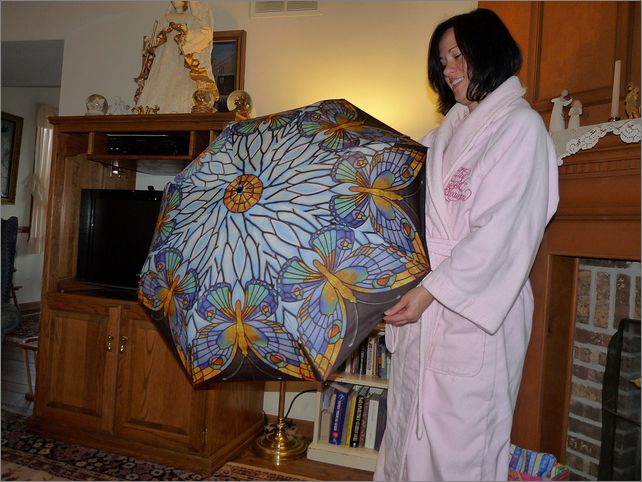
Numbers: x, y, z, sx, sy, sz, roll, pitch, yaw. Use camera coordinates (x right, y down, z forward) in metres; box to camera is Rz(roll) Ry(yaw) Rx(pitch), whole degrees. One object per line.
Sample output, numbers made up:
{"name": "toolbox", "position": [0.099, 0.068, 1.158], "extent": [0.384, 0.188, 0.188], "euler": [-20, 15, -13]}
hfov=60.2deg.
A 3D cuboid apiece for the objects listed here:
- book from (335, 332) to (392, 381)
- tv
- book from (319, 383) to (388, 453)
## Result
{"name": "book", "position": [0.283, 0.689, 3.198], "extent": [0.269, 0.105, 0.283], "euler": [-2, 1, -39]}
{"name": "tv", "position": [-1.145, 0.017, 3.145], "extent": [0.521, 0.715, 0.155], "euler": [-4, -5, 11]}
{"name": "book", "position": [0.186, 1.013, 3.127], "extent": [0.414, 0.455, 0.244], "euler": [8, -11, 4]}
